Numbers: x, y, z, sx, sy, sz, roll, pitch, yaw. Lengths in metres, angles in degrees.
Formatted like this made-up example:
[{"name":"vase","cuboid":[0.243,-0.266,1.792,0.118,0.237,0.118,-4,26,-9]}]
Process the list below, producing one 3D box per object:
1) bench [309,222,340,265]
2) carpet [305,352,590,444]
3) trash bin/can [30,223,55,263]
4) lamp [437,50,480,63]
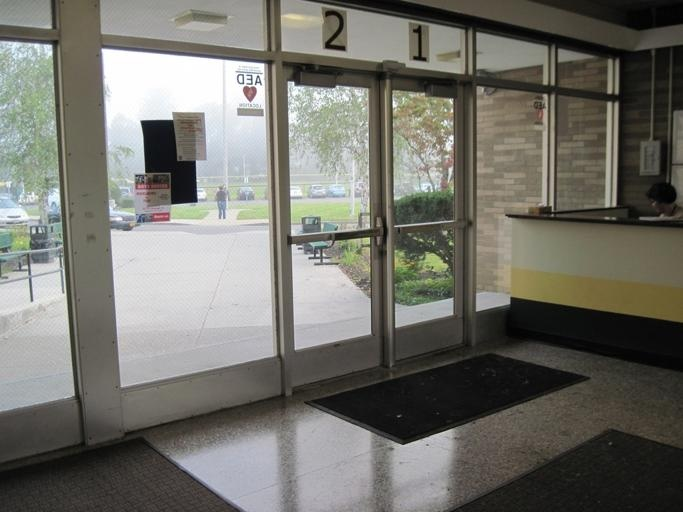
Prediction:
[{"name":"bench","cuboid":[-0.180,-0.123,4.747,0.242,0.351,0.386,-2,12,-16]},{"name":"carpet","cuboid":[0.851,1.110,4.352,2.106,0.046,0.955,-8,11,-29]},{"name":"trash bin/can","cuboid":[-2.010,-0.074,3.545,0.149,0.239,0.134,-2,-5,-35]},{"name":"lamp","cuboid":[1.125,-1.986,5.265,0.171,0.044,0.189,0,4,40]}]
